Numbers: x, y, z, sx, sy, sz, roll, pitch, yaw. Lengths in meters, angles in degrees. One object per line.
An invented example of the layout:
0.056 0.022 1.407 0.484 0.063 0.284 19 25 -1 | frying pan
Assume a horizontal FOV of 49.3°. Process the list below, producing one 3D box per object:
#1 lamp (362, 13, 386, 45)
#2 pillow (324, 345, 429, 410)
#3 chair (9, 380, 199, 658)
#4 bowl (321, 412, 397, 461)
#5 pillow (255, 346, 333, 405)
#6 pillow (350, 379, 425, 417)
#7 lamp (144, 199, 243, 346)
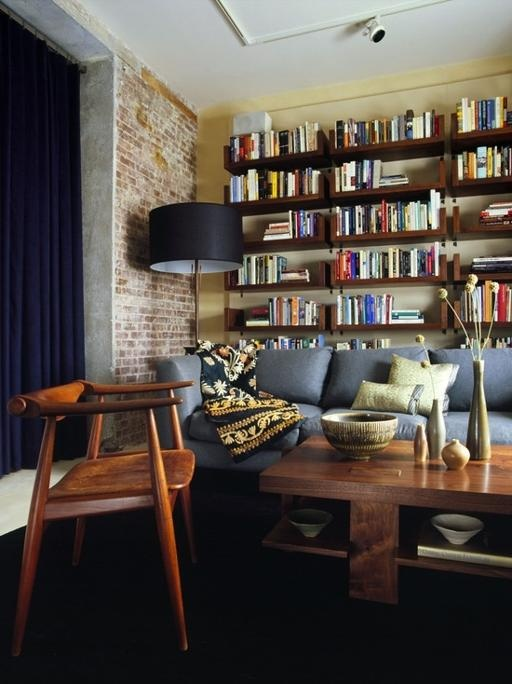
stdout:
0.753 -1.998 3.571 0.104 0.163 0.169 0 9 -12 | lamp
0.677 0.208 3.119 0.364 0.252 0.132 -3 -11 26 | pillow
-0.312 0.370 1.754 0.617 0.777 0.912 0 0 2 | chair
0.368 0.332 1.949 0.258 0.138 0.255 -1 -1 0 | bowl
0.231 0.215 3.363 0.332 0.267 0.140 4 -4 13 | pillow
0.701 0.297 2.935 0.172 0.143 0.388 -3 3 -40 | pillow
-0.407 -0.510 3.877 0.602 0.914 0.662 -1 2 7 | lamp
